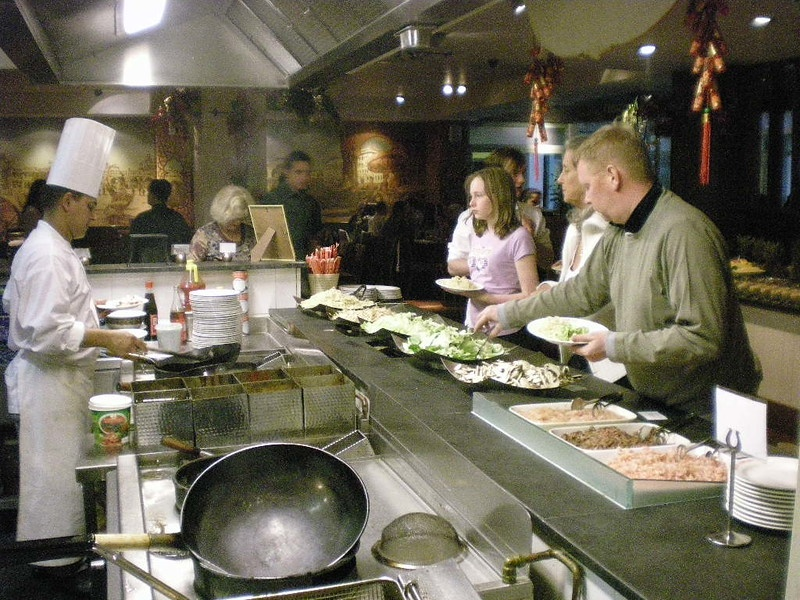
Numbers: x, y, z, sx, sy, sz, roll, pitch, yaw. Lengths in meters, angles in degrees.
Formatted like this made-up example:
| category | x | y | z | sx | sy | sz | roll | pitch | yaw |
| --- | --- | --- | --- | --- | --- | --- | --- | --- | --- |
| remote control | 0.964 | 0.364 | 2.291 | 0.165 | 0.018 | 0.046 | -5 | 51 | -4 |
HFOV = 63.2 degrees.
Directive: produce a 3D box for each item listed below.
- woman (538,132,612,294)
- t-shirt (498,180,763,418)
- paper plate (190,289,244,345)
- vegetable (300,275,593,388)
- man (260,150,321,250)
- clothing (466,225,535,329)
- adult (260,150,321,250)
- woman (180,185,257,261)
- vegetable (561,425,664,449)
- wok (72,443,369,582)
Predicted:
| category | x | y | z | sx | sy | sz | roll | pitch | yaw |
| --- | --- | --- | --- | --- | --- | --- | --- | --- | --- |
| woman | 1.013 | -0.458 | 3.575 | 0.524 | 0.831 | 0.516 | -3 | 24 | 21 |
| t-shirt | 0.935 | 0.005 | 2.538 | 0.786 | 0.806 | 0.822 | -14 | 16 | -18 |
| paper plate | -0.907 | 0.086 | 3.360 | 0.302 | 0.284 | 0.298 | -2 | 6 | -19 |
| vegetable | 0.295 | 0.164 | 3.059 | 0.117 | 0.254 | 1.525 | 13 | -1 | -35 |
| man | -0.942 | -0.839 | 5.732 | 0.507 | 0.944 | 0.126 | -3 | 5 | -3 |
| clothing | 0.623 | -0.137 | 4.173 | 0.348 | 0.592 | 0.665 | -13 | 9 | -23 |
| adult | -0.942 | -0.839 | 5.732 | 0.507 | 0.944 | 0.126 | -3 | 5 | -3 |
| woman | -1.334 | -0.521 | 5.174 | 0.443 | 0.767 | 0.599 | 15 | 18 | 40 |
| vegetable | 0.590 | 0.380 | 1.792 | 0.164 | 0.023 | 0.099 | -4 | 5 | -9 |
| wok | -0.389 | 0.516 | 1.582 | 0.533 | 0.079 | 0.310 | -4 | 30 | -11 |
